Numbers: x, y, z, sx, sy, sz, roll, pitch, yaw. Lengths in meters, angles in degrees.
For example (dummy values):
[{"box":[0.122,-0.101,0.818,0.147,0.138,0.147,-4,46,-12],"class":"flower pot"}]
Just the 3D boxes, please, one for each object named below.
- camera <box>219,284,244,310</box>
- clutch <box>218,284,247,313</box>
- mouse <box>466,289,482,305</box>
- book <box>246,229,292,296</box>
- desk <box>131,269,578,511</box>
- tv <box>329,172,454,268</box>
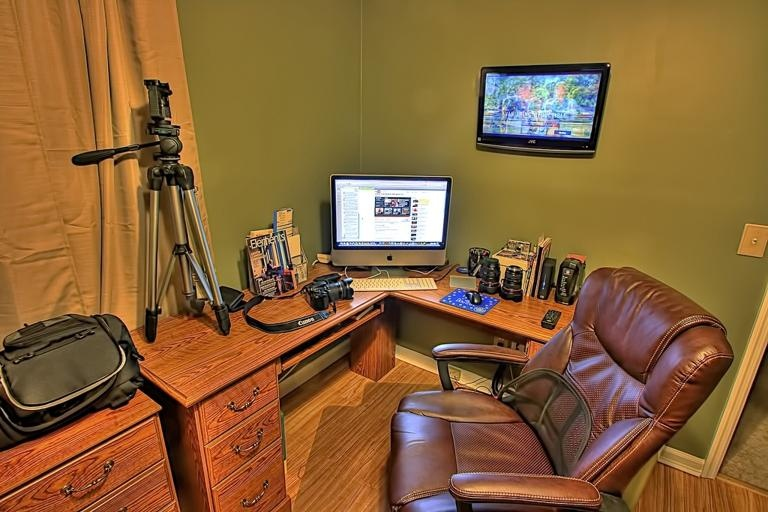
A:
[{"box":[-0.797,0.221,2.554,0.105,0.039,0.144,-13,27,-26],"class":"camera"},{"box":[-0.797,0.217,2.565,0.152,0.074,0.117,30,39,30],"class":"clutch"},{"box":[0.494,0.246,2.723,0.059,0.043,0.122,3,31,13],"class":"mouse"},{"box":[-0.644,0.041,2.700,0.129,0.360,0.267,8,24,40],"class":"book"},{"box":[-0.165,0.660,2.410,0.949,0.600,0.961,12,27,25],"class":"desk"},{"box":[0.033,-0.217,2.944,0.594,0.476,0.152,2,30,-3],"class":"tv"}]
